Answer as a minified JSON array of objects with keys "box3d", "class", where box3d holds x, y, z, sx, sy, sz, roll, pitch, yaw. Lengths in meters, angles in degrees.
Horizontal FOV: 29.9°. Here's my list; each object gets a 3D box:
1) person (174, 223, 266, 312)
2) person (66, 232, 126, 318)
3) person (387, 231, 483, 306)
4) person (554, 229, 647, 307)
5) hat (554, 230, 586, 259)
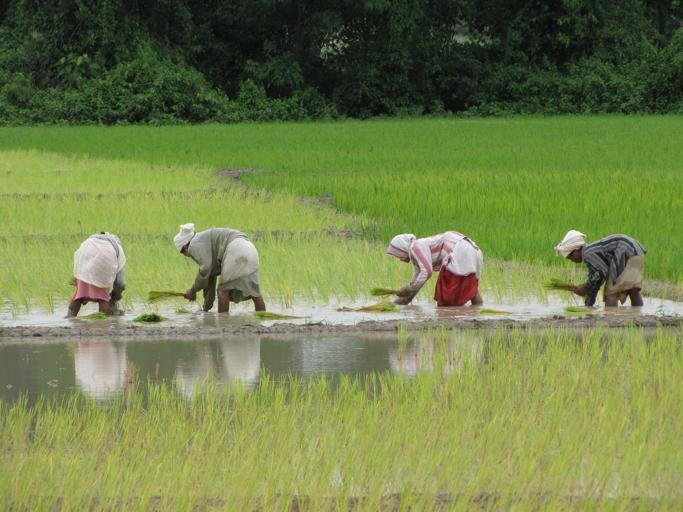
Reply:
[{"box3d":[-1.836,0.225,19.426,1.298,1.383,0.527,0,7,-4],"class":"person"},{"box3d":[-3.727,0.323,19.277,0.826,1.272,0.406,-1,7,-15],"class":"person"},{"box3d":[1.498,0.349,19.892,1.460,1.568,0.860,-5,6,-2],"class":"person"},{"box3d":[4.036,0.312,19.757,1.218,1.756,0.738,-6,17,20],"class":"person"},{"box3d":[3.520,-0.211,19.714,0.346,0.284,0.464,-9,9,4],"class":"hat"}]
